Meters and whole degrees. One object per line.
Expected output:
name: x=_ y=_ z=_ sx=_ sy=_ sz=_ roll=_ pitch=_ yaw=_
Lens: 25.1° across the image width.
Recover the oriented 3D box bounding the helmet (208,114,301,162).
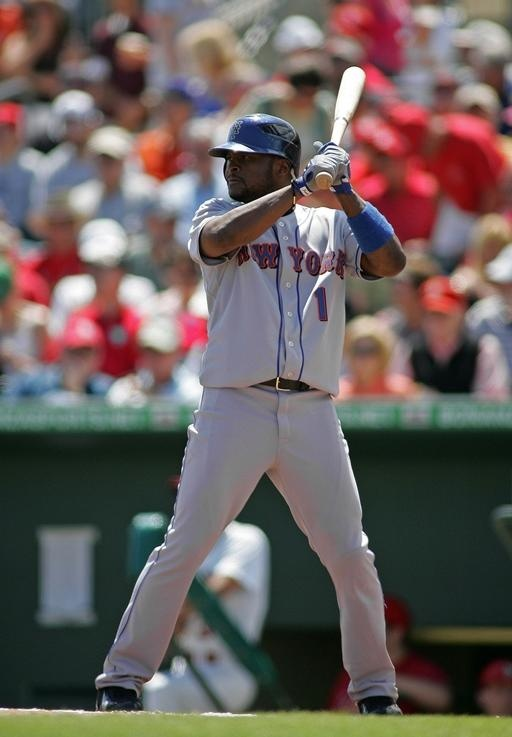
helmet: x=-0.003 y=-0.653 z=3.237 sx=0.207 sy=0.091 sz=0.142 roll=12 pitch=-9 yaw=-16

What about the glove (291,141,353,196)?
glove: x=0.193 y=-0.536 z=3.059 sx=0.082 sy=0.158 sz=0.147 roll=1 pitch=64 yaw=19
